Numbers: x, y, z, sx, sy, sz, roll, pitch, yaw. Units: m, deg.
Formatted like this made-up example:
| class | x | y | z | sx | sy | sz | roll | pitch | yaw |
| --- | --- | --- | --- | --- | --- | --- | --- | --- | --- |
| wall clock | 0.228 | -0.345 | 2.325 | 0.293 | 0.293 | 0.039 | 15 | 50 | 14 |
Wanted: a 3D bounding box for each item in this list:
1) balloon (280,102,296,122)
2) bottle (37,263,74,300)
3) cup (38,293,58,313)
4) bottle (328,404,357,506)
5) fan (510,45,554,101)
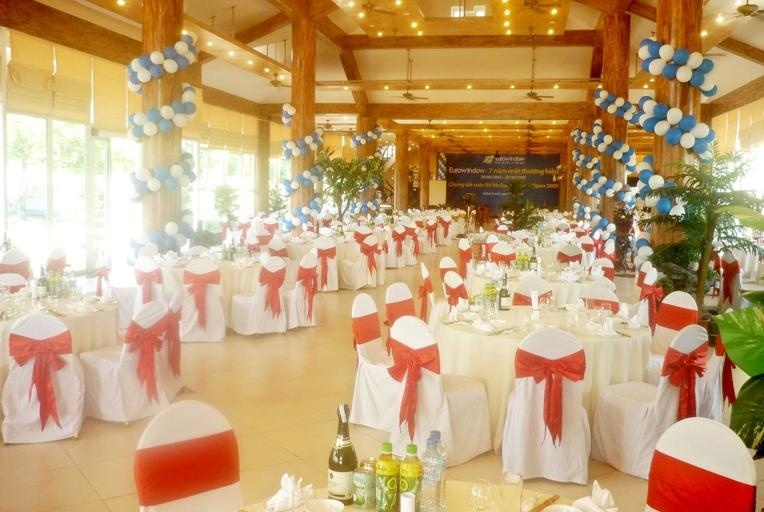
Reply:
| class | x | y | z | sx | sy | sz | roll | pitch | yaw |
| --- | --- | --- | --- | --- | --- | --- | --- | --- | --- |
| balloon | -2.391 | -3.605 | 13.955 | 0.277 | 0.401 | 0.432 | 1 | 1 | -30 |
| bottle | -3.429 | 0.263 | 5.758 | 0.301 | 0.325 | 0.316 | 2 | -2 | -4 |
| cup | -3.343 | 0.474 | 5.502 | 0.145 | 0.253 | 0.152 | -1 | -6 | 0 |
| bottle | -0.200 | 1.037 | 2.801 | 0.144 | 0.433 | 0.089 | 1 | 2 | -3 |
| fan | 4.764 | -5.964 | 17.431 | 1.257 | 1.479 | 1.062 | -13 | 28 | -13 |
